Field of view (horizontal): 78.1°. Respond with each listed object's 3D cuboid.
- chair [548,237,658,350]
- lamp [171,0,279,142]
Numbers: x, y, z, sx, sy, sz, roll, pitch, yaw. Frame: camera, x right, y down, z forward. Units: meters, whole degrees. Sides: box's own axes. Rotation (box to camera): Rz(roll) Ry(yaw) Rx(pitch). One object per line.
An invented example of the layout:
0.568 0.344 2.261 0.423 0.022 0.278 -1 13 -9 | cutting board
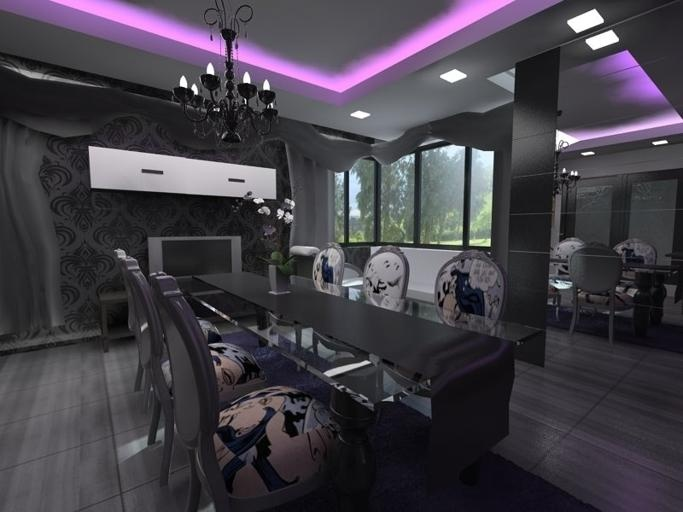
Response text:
2.212 0.247 3.622 0.745 1.091 0.653 -7 9 -40 | chair
-1.123 -1.709 4.060 0.834 1.229 2.089 -5 14 -16 | lamp
